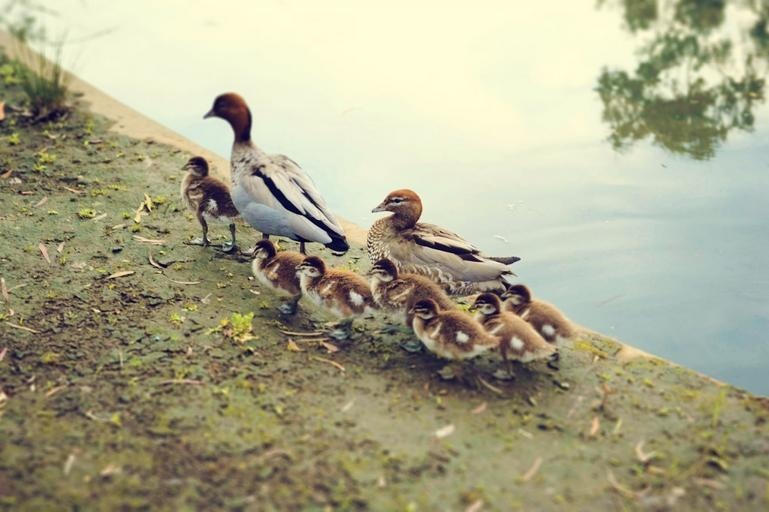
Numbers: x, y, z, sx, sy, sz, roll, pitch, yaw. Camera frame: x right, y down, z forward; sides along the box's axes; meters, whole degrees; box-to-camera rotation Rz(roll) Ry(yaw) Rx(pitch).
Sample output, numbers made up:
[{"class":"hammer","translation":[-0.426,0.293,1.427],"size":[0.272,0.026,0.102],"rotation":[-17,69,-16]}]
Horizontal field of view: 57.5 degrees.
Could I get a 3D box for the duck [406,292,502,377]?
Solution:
[{"class":"duck","translation":[0.928,1.022,9.537],"size":[1.209,0.736,0.393],"rotation":[15,27,23]}]
